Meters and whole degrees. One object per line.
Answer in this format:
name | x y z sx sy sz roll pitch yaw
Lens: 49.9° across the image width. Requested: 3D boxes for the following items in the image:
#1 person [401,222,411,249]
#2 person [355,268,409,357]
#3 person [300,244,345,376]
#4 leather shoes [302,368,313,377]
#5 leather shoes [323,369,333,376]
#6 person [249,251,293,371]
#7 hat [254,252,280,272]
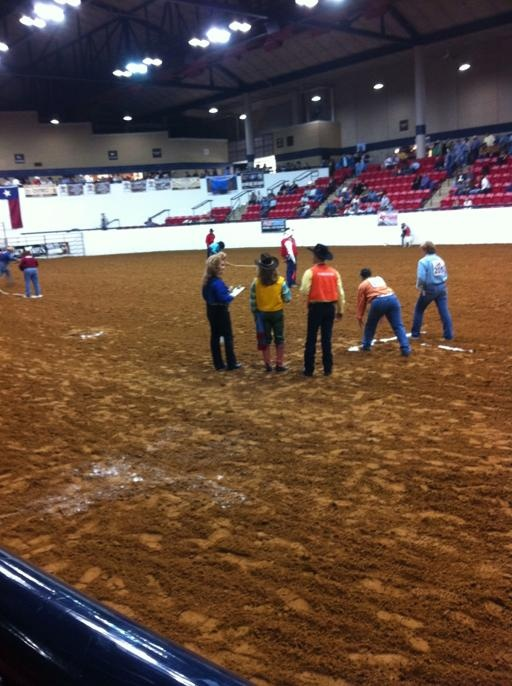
person | 6.870 -4.946 25.301 0.425 1.049 0.567 0 15 13
person | 1.988 -0.492 8.531 0.781 1.321 0.726 0 15 14
person | 0.915 -0.460 7.680 0.571 1.778 0.674 -1 15 9
leather shoes | 0.712 0.421 7.656 0.067 0.111 0.168 1 17 -2
leather shoes | 1.002 0.413 7.657 0.093 0.097 0.115 0 20 -17
person | 0.204 -0.393 7.755 0.530 1.677 0.332 -3 15 3
hat | 0.139 -1.139 7.695 0.289 0.192 0.407 -4 13 -5
